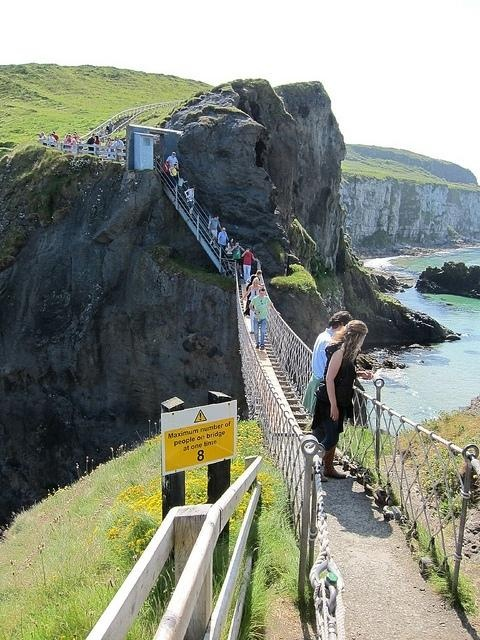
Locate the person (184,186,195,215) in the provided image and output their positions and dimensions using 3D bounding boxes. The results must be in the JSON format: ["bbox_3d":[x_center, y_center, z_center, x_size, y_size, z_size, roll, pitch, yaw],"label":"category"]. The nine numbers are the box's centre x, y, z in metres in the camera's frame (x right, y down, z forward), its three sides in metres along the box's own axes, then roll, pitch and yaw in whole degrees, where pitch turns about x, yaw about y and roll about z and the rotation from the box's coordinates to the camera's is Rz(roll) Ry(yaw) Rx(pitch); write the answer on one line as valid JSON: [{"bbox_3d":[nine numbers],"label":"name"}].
[{"bbox_3d":[-2.114,-4.926,20.892,0.407,1.041,0.990,1,10,-7],"label":"person"}]

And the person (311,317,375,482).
[{"bbox_3d":[0.886,0.821,4.662,0.455,1.700,0.714,5,10,14],"label":"person"}]

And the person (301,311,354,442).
[{"bbox_3d":[0.973,0.594,5.467,0.553,1.416,0.430,5,24,11],"label":"person"}]
